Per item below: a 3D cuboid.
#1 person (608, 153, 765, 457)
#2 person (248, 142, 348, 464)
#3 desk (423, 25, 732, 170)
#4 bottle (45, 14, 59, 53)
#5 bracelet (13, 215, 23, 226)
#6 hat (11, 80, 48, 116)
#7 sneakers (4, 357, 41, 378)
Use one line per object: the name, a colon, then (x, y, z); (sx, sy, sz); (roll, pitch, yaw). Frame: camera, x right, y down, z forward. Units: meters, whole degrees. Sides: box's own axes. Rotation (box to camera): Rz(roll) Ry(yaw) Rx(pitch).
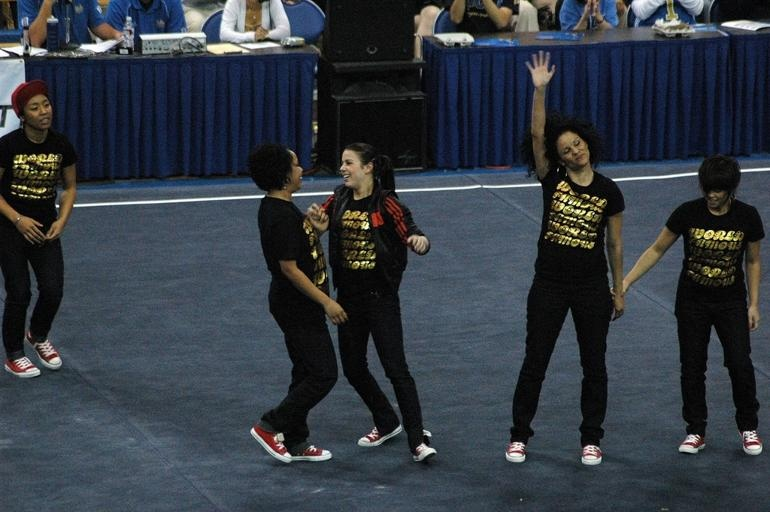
person: (2.285, 0.357, 6.628); (1.018, 2.170, 0.787); (-1, 20, 12)
person: (-0.675, 0.367, 6.447); (0.769, 2.316, 0.620); (-7, 20, -3)
desk: (2.432, -2.060, 11.630); (3.821, 0.982, 0.969); (-2, 31, -1)
bottle: (-4.254, -2.791, 11.464); (0.195, 0.395, 0.235); (-11, 20, -16)
bracelet: (-3.016, -0.295, 7.380); (0.071, 0.077, 0.047); (-13, 20, -25)
hat: (-2.919, -1.283, 7.379); (0.267, 0.282, 0.243); (-14, 20, -27)
sneakers: (-3.086, 0.947, 7.669); (0.364, 0.104, 0.140); (3, 5, 33)
